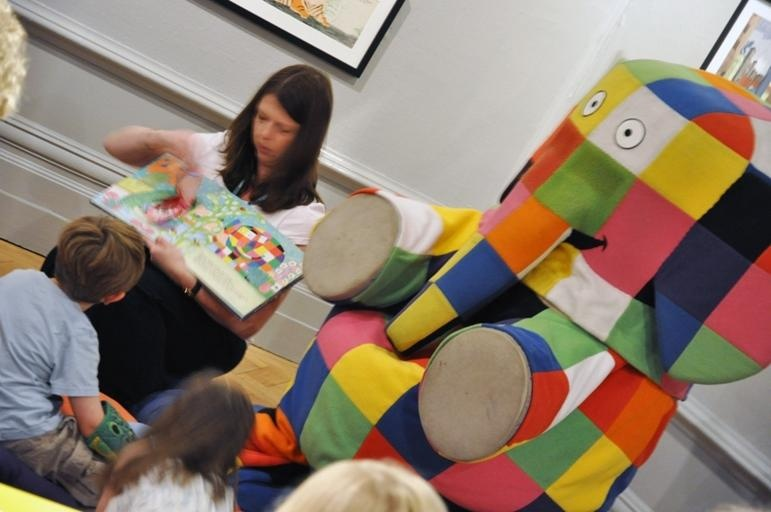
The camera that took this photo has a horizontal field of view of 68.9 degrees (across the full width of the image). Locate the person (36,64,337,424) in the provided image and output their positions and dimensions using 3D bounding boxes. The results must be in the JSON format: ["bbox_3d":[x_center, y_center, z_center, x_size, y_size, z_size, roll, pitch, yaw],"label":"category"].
[{"bbox_3d":[-0.655,-0.021,1.846,0.568,1.278,0.646,38,13,31],"label":"person"}]

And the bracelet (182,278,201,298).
[{"bbox_3d":[-0.582,0.096,1.675,0.019,0.041,0.046,55,13,-21],"label":"bracelet"}]
